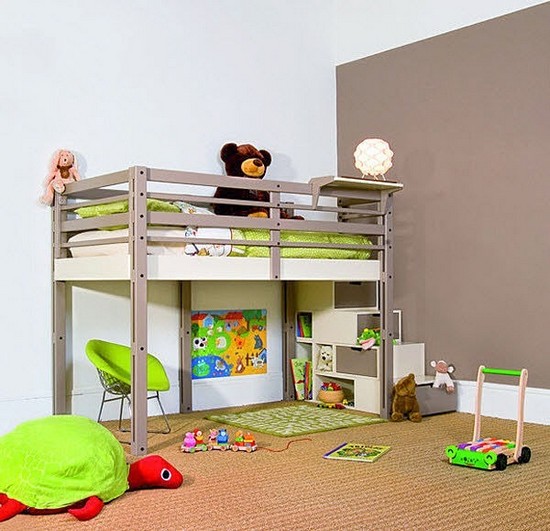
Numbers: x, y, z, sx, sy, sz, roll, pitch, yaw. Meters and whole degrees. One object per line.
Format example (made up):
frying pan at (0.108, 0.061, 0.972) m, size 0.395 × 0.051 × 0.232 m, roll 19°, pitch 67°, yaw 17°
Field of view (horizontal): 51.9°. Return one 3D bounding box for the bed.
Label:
bed at (-0.428, 0.665, 3.832) m, size 2.291 × 2.033 × 1.525 m, roll 2°, pitch -6°, yaw -32°

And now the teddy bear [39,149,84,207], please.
teddy bear at (-1.347, -0.579, 3.560) m, size 0.281 × 0.343 × 0.211 m, roll -8°, pitch 11°, yaw -39°

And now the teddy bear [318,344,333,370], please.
teddy bear at (0.404, 0.744, 4.556) m, size 0.136 × 0.174 × 0.049 m, roll -1°, pitch -5°, yaw 36°

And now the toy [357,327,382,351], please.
toy at (0.699, 0.534, 4.162) m, size 0.146 × 0.072 × 0.124 m, roll -2°, pitch 3°, yaw -26°

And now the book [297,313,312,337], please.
book at (0.273, 0.485, 4.811) m, size 0.148 × 0.295 × 0.281 m, roll 0°, pitch -2°, yaw 6°

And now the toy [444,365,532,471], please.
toy at (1.084, 0.766, 2.873) m, size 0.384 × 0.496 × 0.304 m, roll 6°, pitch -8°, yaw -44°

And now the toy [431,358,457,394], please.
toy at (1.239, 0.808, 4.120) m, size 0.224 × 0.278 × 0.147 m, roll -2°, pitch -2°, yaw 30°

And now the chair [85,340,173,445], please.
chair at (-0.888, 0.730, 3.431) m, size 0.465 × 0.601 × 0.476 m, roll 2°, pitch -9°, yaw -35°
